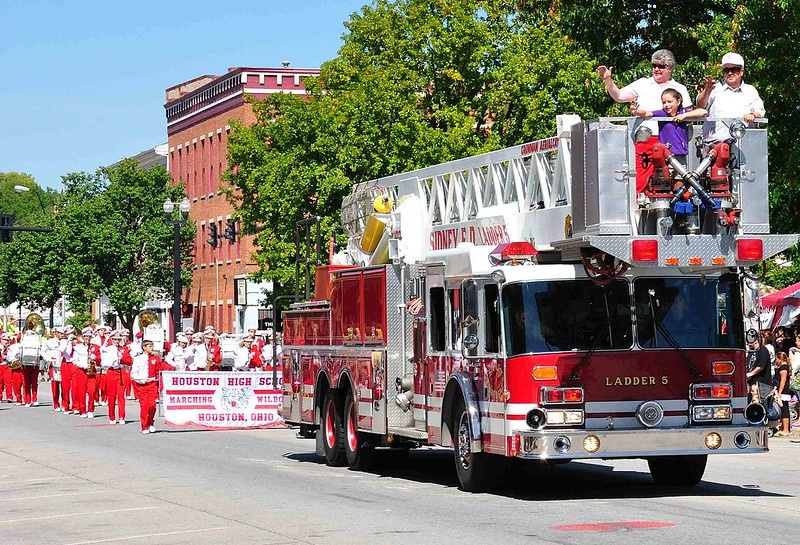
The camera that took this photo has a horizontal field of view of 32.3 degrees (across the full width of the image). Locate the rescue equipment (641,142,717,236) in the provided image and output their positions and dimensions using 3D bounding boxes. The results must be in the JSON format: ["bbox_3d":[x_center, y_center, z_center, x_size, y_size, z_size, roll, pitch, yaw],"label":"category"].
[{"bbox_3d":[3.652,-1.066,18.470,1.457,1.260,0.742,1,-6,-23],"label":"rescue equipment"}]

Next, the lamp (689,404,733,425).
[{"bbox_3d":[4.211,1.961,19.015,0.583,0.238,0.099,3,-10,-24],"label":"lamp"}]

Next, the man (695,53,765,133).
[{"bbox_3d":[4.477,-2.369,19.016,0.918,1.274,0.584,4,-10,-28],"label":"man"}]

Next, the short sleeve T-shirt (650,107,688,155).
[{"bbox_3d":[3.640,-1.885,18.663,0.436,0.558,0.162,-2,-2,-18],"label":"short sleeve T-shirt"}]

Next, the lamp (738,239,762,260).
[{"bbox_3d":[4.610,-0.304,18.509,0.342,0.248,0.161,1,-2,-8],"label":"lamp"}]

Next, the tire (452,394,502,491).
[{"bbox_3d":[1.088,2.407,19.538,0.511,1.110,1.251,-3,23,-16],"label":"tire"}]

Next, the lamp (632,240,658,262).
[{"bbox_3d":[3.173,-0.272,18.231,0.332,0.252,0.299,1,-1,-2],"label":"lamp"}]

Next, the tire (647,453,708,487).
[{"bbox_3d":[4.021,2.926,20.328,0.328,0.716,0.792,2,0,-25],"label":"tire"}]
